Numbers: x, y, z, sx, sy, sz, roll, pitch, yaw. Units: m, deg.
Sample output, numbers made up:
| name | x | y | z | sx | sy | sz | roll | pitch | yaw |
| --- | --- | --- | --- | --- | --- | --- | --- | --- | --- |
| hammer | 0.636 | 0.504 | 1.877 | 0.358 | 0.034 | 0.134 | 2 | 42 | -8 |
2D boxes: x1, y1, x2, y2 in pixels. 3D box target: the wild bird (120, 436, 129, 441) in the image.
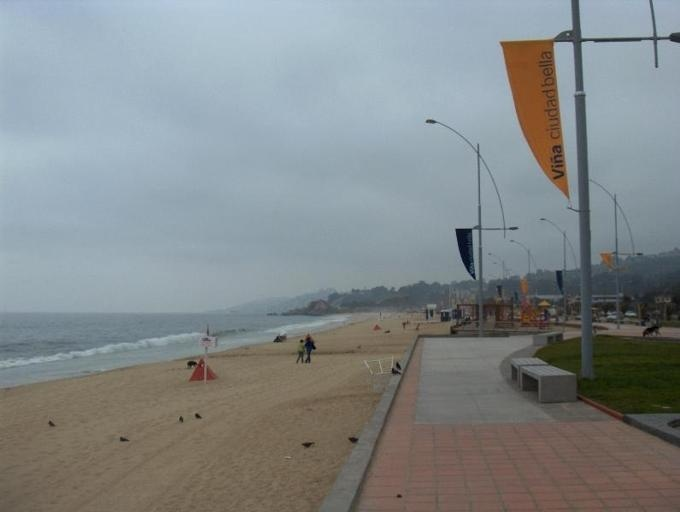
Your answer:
| name | x | y | z | sx | sy | sz | roll | pitch | yaw |
| --- | --- | --- | --- | --- | --- | --- | --- | --- | --- |
| wild bird | -5.888 | 4.970 | 16.430 | 0.116 | 0.132 | 0.280 | 13 | -18 | -40 |

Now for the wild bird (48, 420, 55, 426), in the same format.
| name | x | y | z | sx | sy | sz | roll | pitch | yaw |
| --- | --- | --- | --- | --- | --- | --- | --- | --- | --- |
| wild bird | -8.830 | 5.114 | 18.464 | 0.333 | 0.150 | 0.110 | 0 | 0 | 29 |

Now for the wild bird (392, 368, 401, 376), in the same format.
| name | x | y | z | sx | sy | sz | roll | pitch | yaw |
| --- | --- | --- | --- | --- | --- | --- | --- | --- | --- |
| wild bird | 1.705 | 3.616 | 18.855 | 0.166 | 0.102 | 0.239 | 19 | -7 | -3 |
